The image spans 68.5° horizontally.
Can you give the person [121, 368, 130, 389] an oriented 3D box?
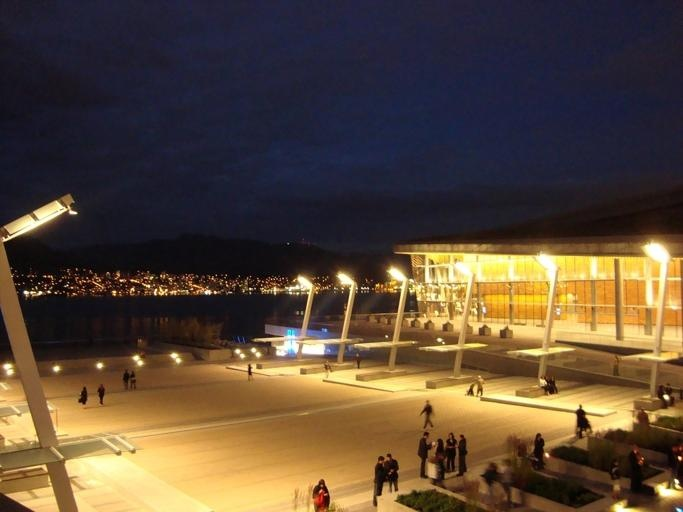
[{"bbox_3d":[-15.305,8.758,35.772,0.396,1.244,1.834,5,-8,-22],"label":"person"}]
